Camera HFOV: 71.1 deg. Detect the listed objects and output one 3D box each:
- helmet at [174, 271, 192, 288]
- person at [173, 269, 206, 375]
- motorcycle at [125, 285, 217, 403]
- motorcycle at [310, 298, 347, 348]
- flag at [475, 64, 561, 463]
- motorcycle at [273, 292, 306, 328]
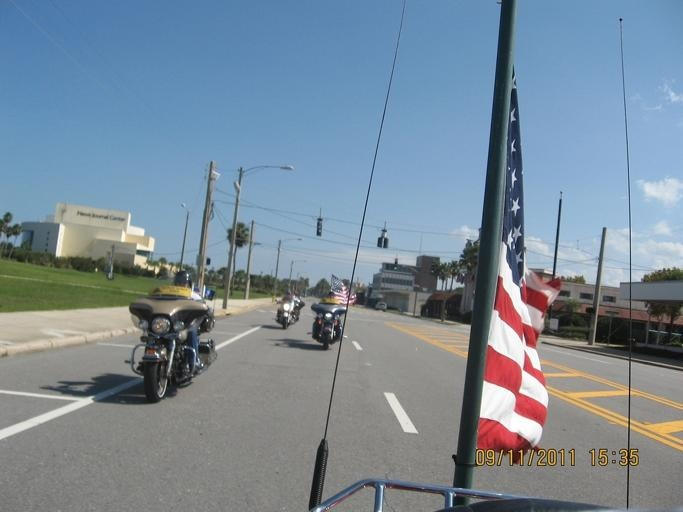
[{"bbox_3d":[-2.777,0.415,8.345,0.225,0.343,0.305,5,-11,-26],"label":"helmet"},{"bbox_3d":[-2.817,1.068,8.417,0.694,1.205,1.933,-2,3,-16],"label":"person"},{"bbox_3d":[-2.784,1.388,8.387,0.917,1.473,2.402,0,-7,3],"label":"motorcycle"},{"bbox_3d":[-0.398,2.027,14.925,0.690,1.184,1.954,1,-8,3],"label":"motorcycle"},{"bbox_3d":[1.645,0.219,4.489,0.607,3.639,1.362,3,-4,33],"label":"flag"},{"bbox_3d":[-2.199,2.306,20.328,0.883,1.250,2.033,4,-8,5],"label":"motorcycle"}]
